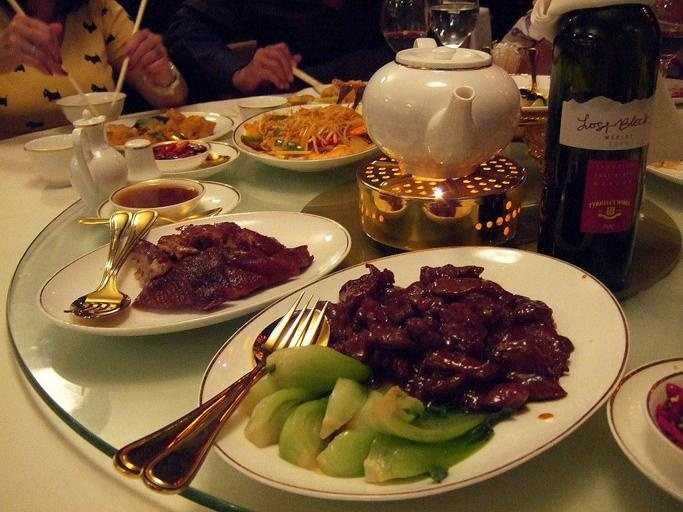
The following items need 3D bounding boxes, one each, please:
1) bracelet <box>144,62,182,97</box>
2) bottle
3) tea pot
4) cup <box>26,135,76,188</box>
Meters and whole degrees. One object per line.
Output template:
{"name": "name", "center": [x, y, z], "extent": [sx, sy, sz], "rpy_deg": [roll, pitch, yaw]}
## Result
{"name": "bracelet", "center": [-0.982, -0.994, 2.979], "extent": [0.175, 0.190, 0.056], "rpy_deg": [-19, -6, 8]}
{"name": "bottle", "center": [0.500, -0.207, 1.053], "extent": [0.212, 0.508, 0.210], "rpy_deg": [-4, 36, 3]}
{"name": "tea pot", "center": [0.228, -0.333, 1.205], "extent": [0.260, 0.230, 0.349], "rpy_deg": [-3, 28, -1]}
{"name": "cup", "center": [-0.981, -0.314, 1.813], "extent": [0.153, 0.120, 0.163], "rpy_deg": [1, 23, 0]}
